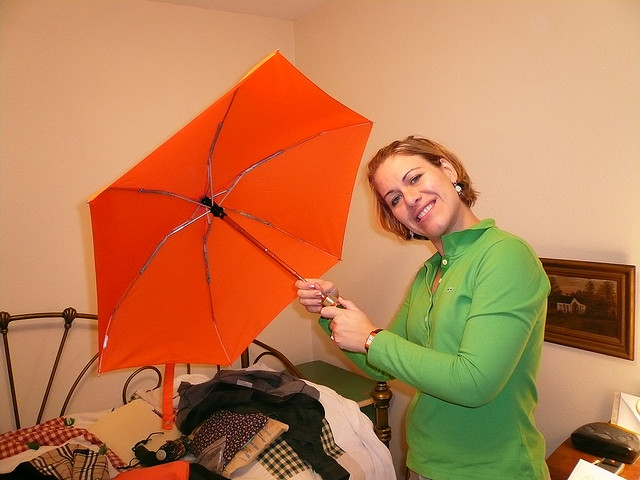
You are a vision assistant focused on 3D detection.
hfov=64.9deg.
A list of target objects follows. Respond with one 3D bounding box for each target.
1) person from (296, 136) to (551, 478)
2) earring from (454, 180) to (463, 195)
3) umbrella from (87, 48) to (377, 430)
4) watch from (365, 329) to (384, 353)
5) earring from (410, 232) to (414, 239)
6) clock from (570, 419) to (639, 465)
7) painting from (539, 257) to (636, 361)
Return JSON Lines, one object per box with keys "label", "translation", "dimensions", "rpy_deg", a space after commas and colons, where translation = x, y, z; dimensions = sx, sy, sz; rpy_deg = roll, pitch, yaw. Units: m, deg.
{"label": "person", "translation": [0.388, 0.224, 1.702], "dimensions": [0.702, 1.190, 0.424], "rpy_deg": [0, -6, 26]}
{"label": "earring", "translation": [0.486, -0.184, 1.771], "dimensions": [0.014, 0.044, 0.049], "rpy_deg": [-1, -7, 37]}
{"label": "umbrella", "translation": [-0.276, -0.010, 1.673], "dimensions": [1.069, 1.006, 0.571], "rpy_deg": [-21, 16, -33]}
{"label": "watch", "translation": [0.176, 0.322, 1.665], "dimensions": [0.068, 0.042, 0.072], "rpy_deg": [-32, -37, 3]}
{"label": "earring", "translation": [0.370, -0.021, 2.017], "dimensions": [0.015, 0.015, 0.017], "rpy_deg": [-10, 2, 15]}
{"label": "clock", "translation": [1.126, 0.791, 1.977], "dimensions": [0.223, 0.110, 0.134], "rpy_deg": [-2, -8, 44]}
{"label": "painting", "translation": [1.205, 0.303, 2.271], "dimensions": [0.381, 0.438, 0.088], "rpy_deg": [-2, -7, 41]}
